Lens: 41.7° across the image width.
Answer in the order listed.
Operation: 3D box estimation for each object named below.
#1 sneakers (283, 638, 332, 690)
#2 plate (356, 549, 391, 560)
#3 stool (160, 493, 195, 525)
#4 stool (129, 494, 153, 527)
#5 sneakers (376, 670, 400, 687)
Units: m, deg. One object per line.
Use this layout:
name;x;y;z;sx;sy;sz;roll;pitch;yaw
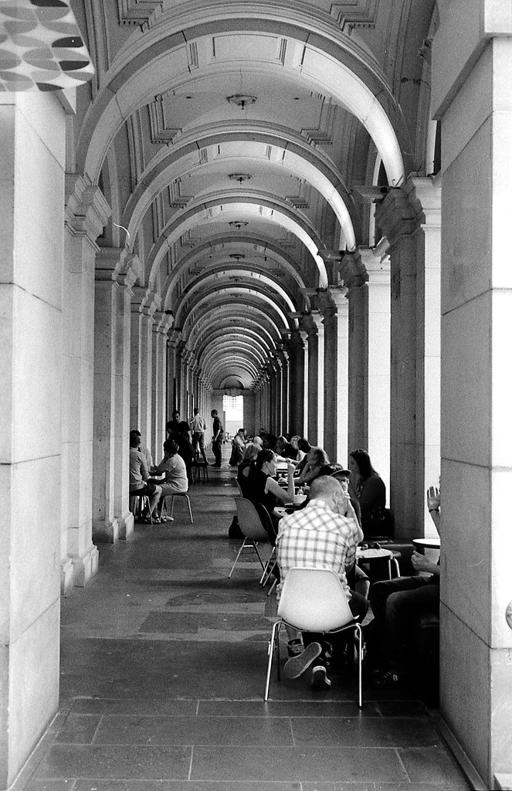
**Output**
sneakers;0.278;1.472;3.768;0.188;0.216;0.553;3;-32;-20
plate;0.826;1.109;4.694;0.140;0.044;0.176;0;-5;8
stool;-1.506;2.026;13.104;0.509;0.944;0.804;2;-6;-6
stool;-2.068;2.058;12.059;0.360;0.817;0.515;1;-10;-12
sneakers;0.766;1.627;3.853;0.097;0.101;0.068;2;-9;16
